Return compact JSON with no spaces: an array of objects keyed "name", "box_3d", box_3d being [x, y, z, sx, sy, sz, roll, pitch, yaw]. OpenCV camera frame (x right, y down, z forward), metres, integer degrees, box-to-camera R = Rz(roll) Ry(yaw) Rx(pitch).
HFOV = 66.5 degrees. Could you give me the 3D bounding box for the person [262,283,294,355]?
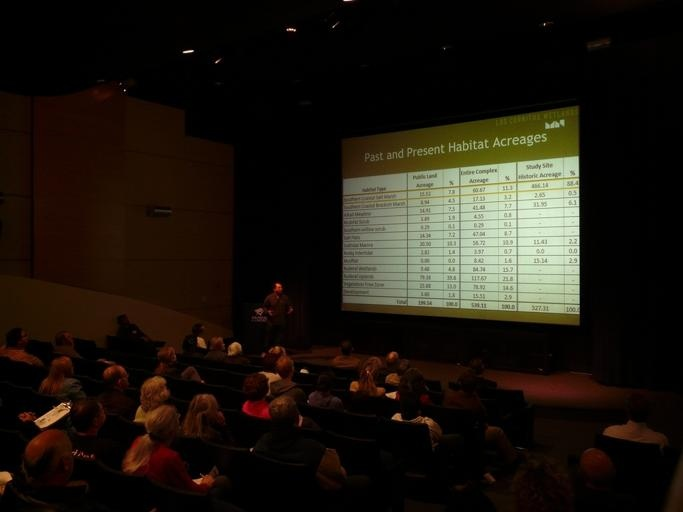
[{"name":"person","box_3d":[-1.289,1.249,10.579,0.531,1.369,0.490,1,10,-8]}]
